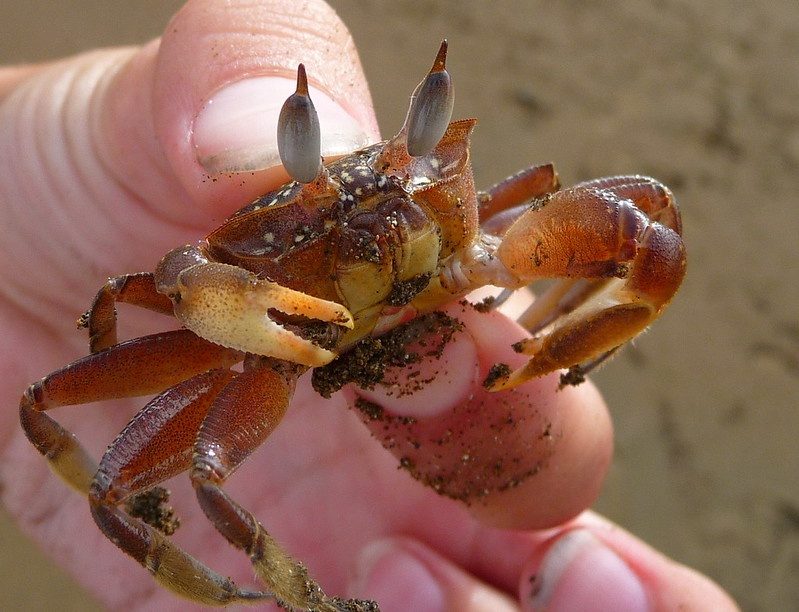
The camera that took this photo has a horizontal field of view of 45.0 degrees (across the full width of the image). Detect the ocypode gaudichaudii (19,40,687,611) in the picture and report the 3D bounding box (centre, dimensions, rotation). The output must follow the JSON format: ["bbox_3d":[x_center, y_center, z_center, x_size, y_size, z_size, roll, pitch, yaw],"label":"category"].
[{"bbox_3d":[-0.102,-0.052,2.729,1.278,1.122,1.627,0,104,-7],"label":"ocypode gaudichaudii"}]
